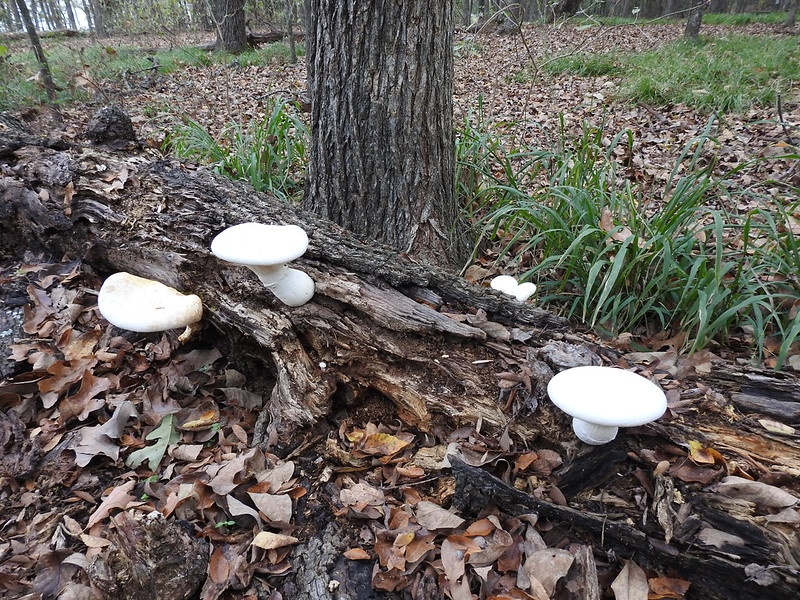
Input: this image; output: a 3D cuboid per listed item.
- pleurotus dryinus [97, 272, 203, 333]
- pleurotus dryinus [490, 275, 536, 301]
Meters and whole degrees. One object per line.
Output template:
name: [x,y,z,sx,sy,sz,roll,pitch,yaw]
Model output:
pleurotus dryinus: [-1.857,0.056,4.143,0.597,0.149,0.511,12,25,-19]
pleurotus dryinus: [0.951,-0.071,4.717,0.360,0.079,0.239,24,39,26]
